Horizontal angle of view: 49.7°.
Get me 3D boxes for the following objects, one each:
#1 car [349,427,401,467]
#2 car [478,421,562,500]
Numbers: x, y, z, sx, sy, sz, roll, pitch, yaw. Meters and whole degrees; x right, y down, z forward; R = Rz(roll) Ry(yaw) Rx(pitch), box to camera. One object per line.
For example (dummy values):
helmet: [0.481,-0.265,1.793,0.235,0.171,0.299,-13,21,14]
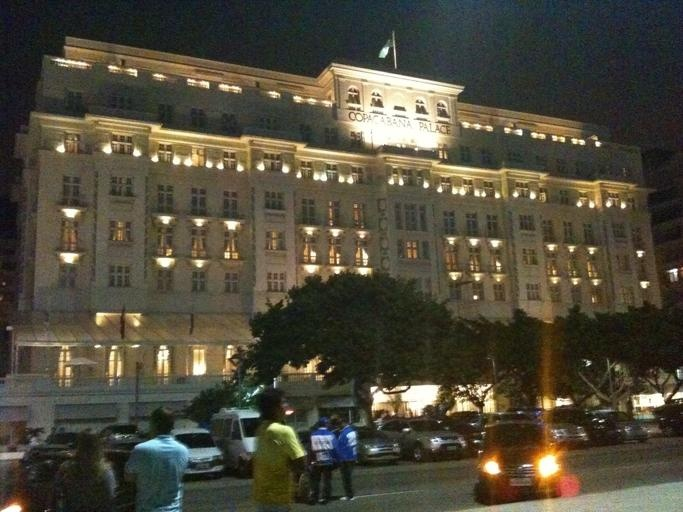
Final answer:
car: [1.540,9.718,38.841,2.191,1.439,3.832,-1,-5,-24]
car: [6.216,7.310,26.203,2.855,2.627,1.386,-4,-17,8]
